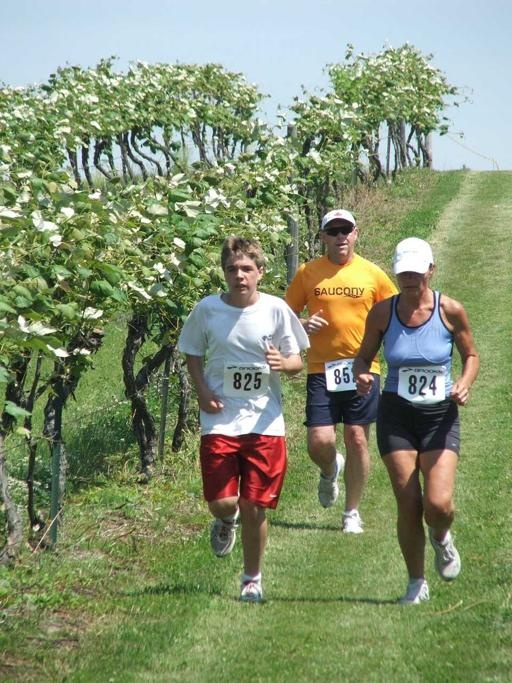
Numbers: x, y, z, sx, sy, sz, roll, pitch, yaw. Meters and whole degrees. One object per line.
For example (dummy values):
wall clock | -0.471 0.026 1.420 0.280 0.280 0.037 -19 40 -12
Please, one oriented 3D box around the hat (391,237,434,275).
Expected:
hat | 0.749 -0.416 3.687 0.155 0.114 0.226 1 8 15

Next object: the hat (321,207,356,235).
hat | 0.530 -0.838 5.234 0.291 0.174 0.413 -1 -4 -2

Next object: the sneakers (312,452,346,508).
sneakers | 0.502 1.072 5.719 0.172 0.460 0.208 13 26 12

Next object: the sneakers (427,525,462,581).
sneakers | 0.930 1.059 3.792 0.120 0.294 0.125 -15 -7 6

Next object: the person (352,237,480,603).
person | 0.768 0.382 3.757 0.592 1.767 0.443 -4 -1 23

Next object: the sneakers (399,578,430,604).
sneakers | 0.767 1.215 3.772 0.086 0.075 0.171 -3 -1 27

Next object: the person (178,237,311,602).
person | -0.040 0.408 3.897 0.627 1.719 0.431 -4 -1 7

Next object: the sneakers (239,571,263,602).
sneakers | -0.024 1.254 3.903 0.093 0.104 0.162 -1 -16 4
